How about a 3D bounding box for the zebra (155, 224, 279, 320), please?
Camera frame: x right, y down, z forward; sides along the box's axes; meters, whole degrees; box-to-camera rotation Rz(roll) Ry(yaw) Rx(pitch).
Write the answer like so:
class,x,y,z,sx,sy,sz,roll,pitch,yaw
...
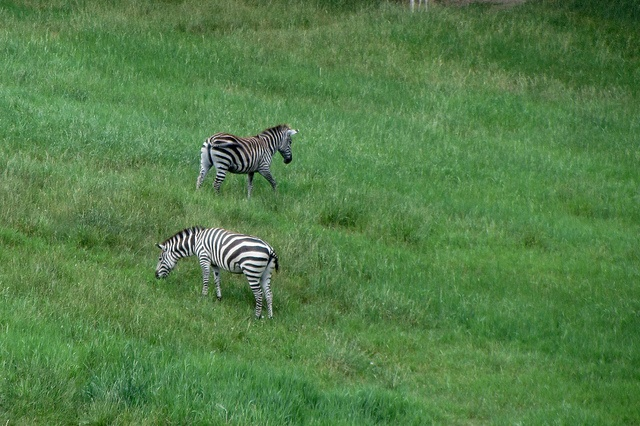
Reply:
class,x,y,z,sx,sy,sz,roll,pitch,yaw
zebra,-4.111,2.381,55.760,5.742,1.586,3.636,13,106,24
